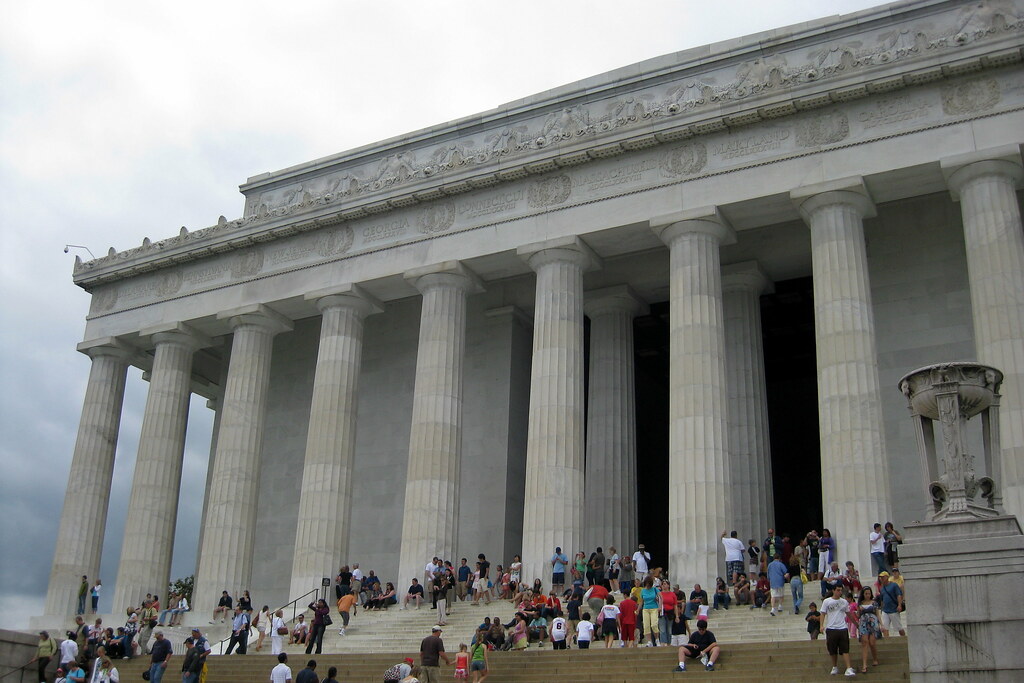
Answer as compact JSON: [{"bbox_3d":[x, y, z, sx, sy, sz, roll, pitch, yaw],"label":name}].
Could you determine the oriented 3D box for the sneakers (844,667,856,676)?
[{"bbox_3d":[8.284,8.083,21.582,0.135,0.135,0.309,10,-21,-28],"label":"sneakers"}]

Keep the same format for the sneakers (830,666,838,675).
[{"bbox_3d":[8.030,8.159,21.911,0.210,0.208,0.241,-7,-22,15],"label":"sneakers"}]

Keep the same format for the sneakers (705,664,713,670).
[{"bbox_3d":[5.216,8.571,23.227,0.189,0.172,0.224,-16,-25,35],"label":"sneakers"}]
